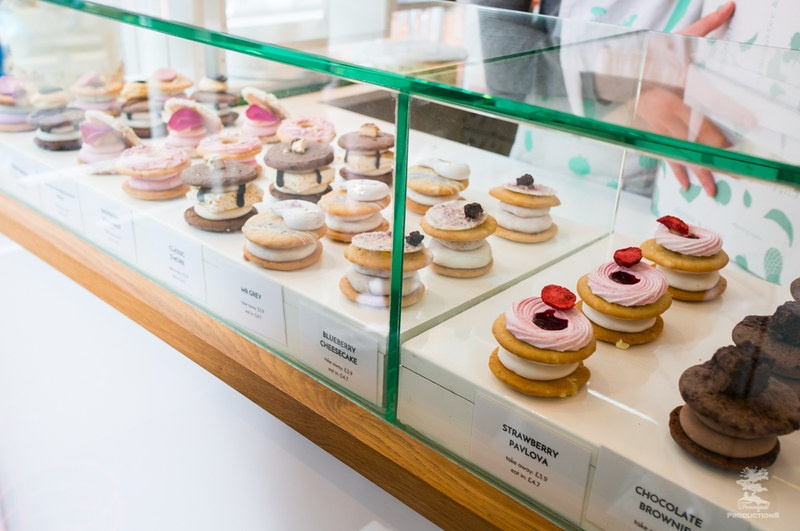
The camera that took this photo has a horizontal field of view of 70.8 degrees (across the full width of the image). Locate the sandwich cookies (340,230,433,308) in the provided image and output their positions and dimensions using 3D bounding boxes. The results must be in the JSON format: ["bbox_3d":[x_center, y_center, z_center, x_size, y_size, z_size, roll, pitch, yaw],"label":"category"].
[{"bbox_3d":[-0.049,-0.010,1.228,0.194,0.163,0.143,22,40,34],"label":"sandwich cookies"}]

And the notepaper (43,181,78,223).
[{"bbox_3d":[-1.065,-0.206,1.767,0.123,0.067,0.111,8,33,5],"label":"notepaper"}]

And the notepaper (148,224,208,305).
[{"bbox_3d":[-0.595,-0.009,1.519,0.210,0.139,0.017,29,39,35],"label":"notepaper"}]

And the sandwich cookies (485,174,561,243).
[{"bbox_3d":[0.291,-0.127,1.353,0.179,0.129,0.164,4,26,13],"label":"sandwich cookies"}]

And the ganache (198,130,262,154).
[{"bbox_3d":[-0.500,-0.354,1.639,0.121,0.032,0.110,-7,23,-15],"label":"ganache"}]

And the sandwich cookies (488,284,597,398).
[{"bbox_3d":[0.253,0.153,1.137,0.221,0.162,0.203,11,28,22],"label":"sandwich cookies"}]

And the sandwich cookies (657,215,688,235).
[{"bbox_3d":[0.571,-0.082,1.177,0.052,0.033,0.015,13,54,50],"label":"sandwich cookies"}]

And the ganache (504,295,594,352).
[{"bbox_3d":[0.286,0.118,1.095,0.114,0.019,0.114,26,39,32],"label":"ganache"}]

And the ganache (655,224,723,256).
[{"bbox_3d":[0.598,-0.063,1.161,0.075,0.021,0.075,-16,28,-28],"label":"ganache"}]

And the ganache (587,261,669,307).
[{"bbox_3d":[0.486,0.039,1.200,0.125,0.039,0.112,-2,31,6],"label":"ganache"}]

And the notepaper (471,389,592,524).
[{"bbox_3d":[0.255,0.353,1.054,0.275,0.178,0.015,19,31,33],"label":"notepaper"}]

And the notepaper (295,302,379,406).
[{"bbox_3d":[-0.136,0.193,1.263,0.220,0.128,0.120,25,34,36],"label":"notepaper"}]
